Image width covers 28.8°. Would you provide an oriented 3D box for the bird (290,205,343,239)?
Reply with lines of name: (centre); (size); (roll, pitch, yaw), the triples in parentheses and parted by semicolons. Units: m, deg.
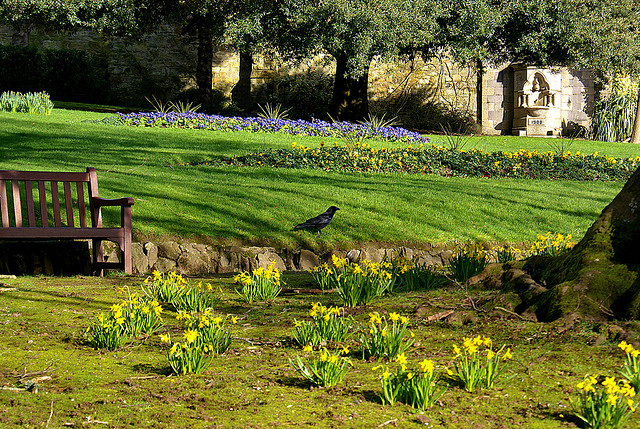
bird: (-0.064, 0.172, 33.904); (1.281, 0.784, 0.437); (3, 8, -3)
